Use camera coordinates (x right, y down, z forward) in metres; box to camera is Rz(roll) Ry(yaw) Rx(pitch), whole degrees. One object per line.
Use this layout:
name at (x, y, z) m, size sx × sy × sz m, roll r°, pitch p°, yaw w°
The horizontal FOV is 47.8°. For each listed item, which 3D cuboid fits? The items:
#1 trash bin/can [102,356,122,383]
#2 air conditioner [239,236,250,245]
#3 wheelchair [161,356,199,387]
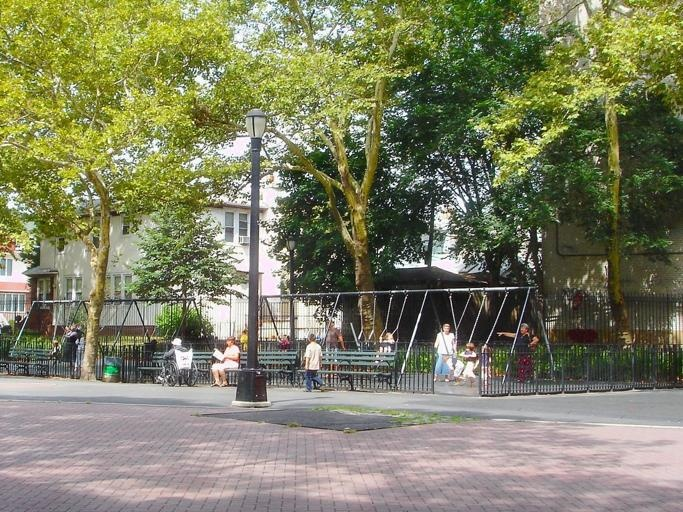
trash bin/can at (-7.984, 3.943, 26.837) m, size 0.725 × 0.812 × 0.723 m, roll -3°, pitch -6°, yaw 38°
air conditioner at (-6.830, -1.131, 53.829) m, size 0.533 × 0.415 × 0.560 m, roll -1°, pitch -1°, yaw 11°
wheelchair at (-5.147, 3.721, 25.077) m, size 1.063 × 1.213 × 0.826 m, roll 1°, pitch -3°, yaw 40°
